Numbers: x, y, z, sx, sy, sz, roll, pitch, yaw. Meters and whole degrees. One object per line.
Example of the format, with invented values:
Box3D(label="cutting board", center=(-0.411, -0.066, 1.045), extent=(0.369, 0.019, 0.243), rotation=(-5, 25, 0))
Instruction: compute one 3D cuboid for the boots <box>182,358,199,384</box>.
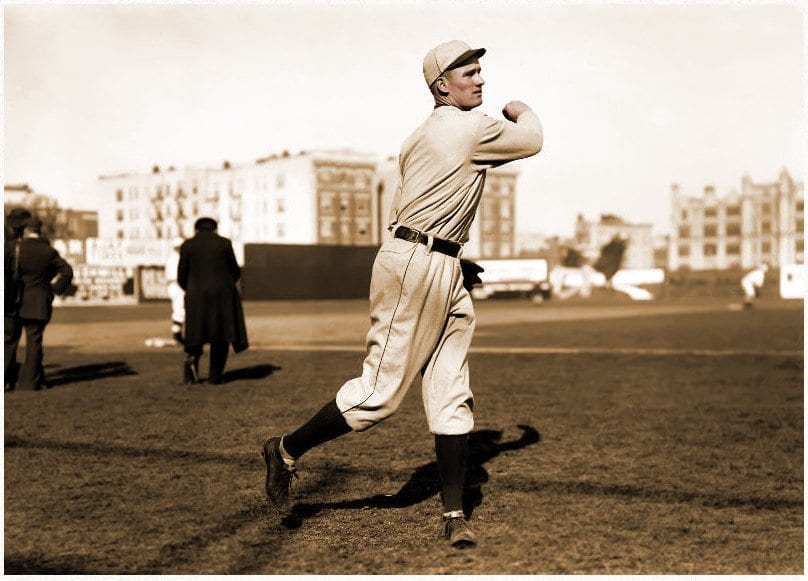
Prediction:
Box3D(label="boots", center=(-1.809, 0.694, 10.907), extent=(0.099, 0.228, 0.213), rotation=(0, 1, 13))

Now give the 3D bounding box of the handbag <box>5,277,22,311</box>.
Box3D(label="handbag", center=(-3.230, 0.052, 10.601), extent=(0.140, 0.287, 0.065), rotation=(-5, 11, -21))

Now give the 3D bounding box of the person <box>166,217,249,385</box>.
Box3D(label="person", center=(-1.636, 0.092, 10.921), extent=(0.541, 1.364, 0.388), rotation=(-4, 10, -12))

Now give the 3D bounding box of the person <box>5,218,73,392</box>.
Box3D(label="person", center=(-3.113, 0.113, 10.676), extent=(0.360, 1.354, 0.666), rotation=(4, 11, 29))

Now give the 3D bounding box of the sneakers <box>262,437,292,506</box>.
Box3D(label="sneakers", center=(-0.815, 1.202, 8.444), extent=(0.188, 0.474, 0.160), rotation=(-4, 4, 27))
